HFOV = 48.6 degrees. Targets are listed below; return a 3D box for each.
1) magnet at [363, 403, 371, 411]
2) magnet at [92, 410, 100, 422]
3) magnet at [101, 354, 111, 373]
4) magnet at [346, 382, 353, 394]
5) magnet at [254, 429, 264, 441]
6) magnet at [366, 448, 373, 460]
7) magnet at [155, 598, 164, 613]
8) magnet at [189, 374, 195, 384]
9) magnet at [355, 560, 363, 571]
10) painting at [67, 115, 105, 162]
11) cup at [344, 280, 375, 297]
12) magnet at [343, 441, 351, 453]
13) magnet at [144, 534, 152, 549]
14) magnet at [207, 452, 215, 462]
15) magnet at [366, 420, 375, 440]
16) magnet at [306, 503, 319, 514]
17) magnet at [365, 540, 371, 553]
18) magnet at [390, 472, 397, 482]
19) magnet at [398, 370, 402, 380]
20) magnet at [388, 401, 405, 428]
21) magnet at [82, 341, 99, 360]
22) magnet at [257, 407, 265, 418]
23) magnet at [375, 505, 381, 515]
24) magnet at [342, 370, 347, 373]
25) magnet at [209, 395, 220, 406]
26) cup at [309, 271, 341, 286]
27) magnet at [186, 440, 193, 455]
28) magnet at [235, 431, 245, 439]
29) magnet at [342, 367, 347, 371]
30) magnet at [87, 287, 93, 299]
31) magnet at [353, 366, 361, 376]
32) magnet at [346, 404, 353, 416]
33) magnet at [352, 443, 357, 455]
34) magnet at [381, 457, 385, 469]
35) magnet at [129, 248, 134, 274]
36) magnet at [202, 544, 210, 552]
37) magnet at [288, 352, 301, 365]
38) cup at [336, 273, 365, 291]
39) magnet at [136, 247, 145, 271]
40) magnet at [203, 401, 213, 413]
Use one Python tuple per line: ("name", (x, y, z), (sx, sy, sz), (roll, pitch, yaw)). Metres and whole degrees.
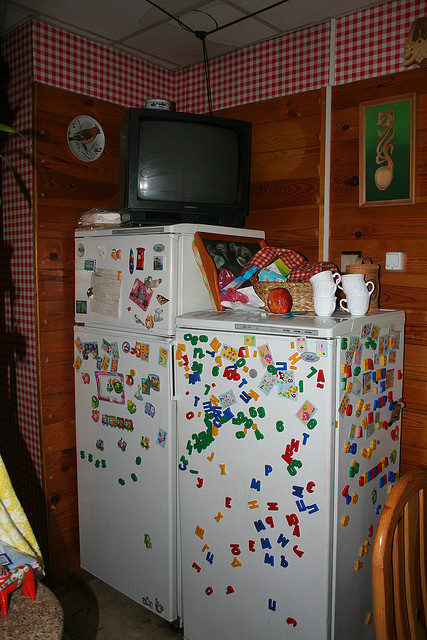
("magnet", (0.435, 0.249, 1.346), (0.020, 0.023, 0.006), (2, -10, 14))
("magnet", (-0.456, 0.373, 1.844), (0.031, 0.044, 0.011), (-1, -4, 32))
("magnet", (-0.401, 0.162, 1.774), (0.010, 0.105, 0.054), (-2, 13, -39))
("magnet", (0.352, 0.174, 1.226), (0.007, 0.026, 0.027), (16, 24, 30))
("magnet", (0.126, 0.312, 1.291), (0.004, 0.037, 0.021), (-7, -22, -33))
("magnet", (0.453, 0.388, 1.381), (0.016, 0.033, 0.008), (0, 8, -34))
("magnet", (-0.190, 0.999, 1.666), (0.010, 0.042, 0.029), (-8, -30, -31))
("magnet", (-0.066, 0.181, 1.460), (0.006, 0.024, 0.023), (1, -3, -39))
("magnet", (0.417, 0.698, 1.360), (0.008, 0.030, 0.029), (13, 40, 39))
("painting", (-0.543, -0.775, 2.020), (0.179, 0.183, 0.014), (16, 21, 13))
("cup", (0.416, -0.087, 1.378), (0.083, 0.062, 0.057), (-6, 3, 37))
("magnet", (0.347, 0.329, 1.239), (0.010, 0.033, 0.019), (9, 14, 25))
("magnet", (-0.230, 0.777, 1.668), (0.014, 0.047, 0.028), (-5, -17, -26))
("magnet", (-0.006, 0.412, 1.426), (0.006, 0.024, 0.025), (25, 44, -8))
("magnet", (0.454, 0.318, 1.375), (0.008, 0.044, 0.061), (8, 18, 39))
("magnet", (0.251, 0.473, 1.193), (0.005, 0.023, 0.029), (0, -17, -43))
("magnet", (0.458, 0.672, 1.408), (0.013, 0.045, 0.017), (-1, -13, 7))
("magnet", (0.606, 0.527, 1.598), (0.018, 0.023, 0.033), (3, 16, 16))
("magnet", (0.619, 0.183, 1.574), (0.006, 0.026, 0.026), (6, 9, 6))
("magnet", (0.605, 0.304, 1.569), (0.022, 0.075, 0.073), (14, 16, 43))
("magnet", (-0.476, 0.115, 1.849), (0.072, 0.071, 0.018), (6, 6, 33))
("magnet", (0.129, 0.249, 1.281), (0.006, 0.025, 0.018), (8, -19, -41))
("magnet", (0.508, 0.584, 1.463), (0.008, 0.023, 0.023), (15, 27, 22))
("magnet", (0.330, 0.130, 1.192), (0.012, 0.009, 0.007), (-3, 4, -41))
("magnet", (0.005, 0.238, 1.401), (0.003, 0.018, 0.031), (6, 29, -36))
("cup", (0.314, -0.117, 1.364), (0.060, 0.045, 0.041), (-4, 2, 22))
("magnet", (-0.074, 0.400, 1.489), (0.004, 0.040, 0.022), (-1, 1, -38))
("magnet", (0.076, 0.324, 1.338), (0.007, 0.021, 0.027), (7, -6, -28))
("magnet", (0.330, 0.122, 1.190), (0.008, 0.007, 0.012), (0, 6, 22))
("magnet", (-0.480, -0.102, 1.846), (0.014, 0.050, 0.026), (-8, 25, -18))
("magnet", (0.385, 0.137, 1.270), (0.017, 0.032, 0.007), (27, -22, -26))
("magnet", (0.354, 0.235, 1.233), (0.006, 0.028, 0.027), (8, 6, 24))
("magnet", (0.381, 0.345, 1.278), (0.015, 0.031, 0.009), (1, 1, 32))
("magnet", (0.535, 0.449, 1.491), (0.007, 0.026, 0.017), (0, 6, 29))
("magnet", (-0.285, -0.203, 1.653), (0.006, 0.084, 0.028), (-3, 7, -36))
("magnet", (-0.025, 0.709, 1.476), (0.006, 0.023, 0.023), (15, 12, -48))
("magnet", (0.205, 0.097, 1.192), (0.007, 0.023, 0.028), (-5, -32, -37))
("cup", (0.395, -0.108, 1.357), (0.039, 0.046, 0.060), (-6, 3, -36))
("magnet", (-0.248, -0.209, 1.617), (0.011, 0.104, 0.062), (-10, 16, -43))
("magnet", (-0.014, 0.258, 1.419), (0.030, 0.034, 0.008), (1, 3, 38))
